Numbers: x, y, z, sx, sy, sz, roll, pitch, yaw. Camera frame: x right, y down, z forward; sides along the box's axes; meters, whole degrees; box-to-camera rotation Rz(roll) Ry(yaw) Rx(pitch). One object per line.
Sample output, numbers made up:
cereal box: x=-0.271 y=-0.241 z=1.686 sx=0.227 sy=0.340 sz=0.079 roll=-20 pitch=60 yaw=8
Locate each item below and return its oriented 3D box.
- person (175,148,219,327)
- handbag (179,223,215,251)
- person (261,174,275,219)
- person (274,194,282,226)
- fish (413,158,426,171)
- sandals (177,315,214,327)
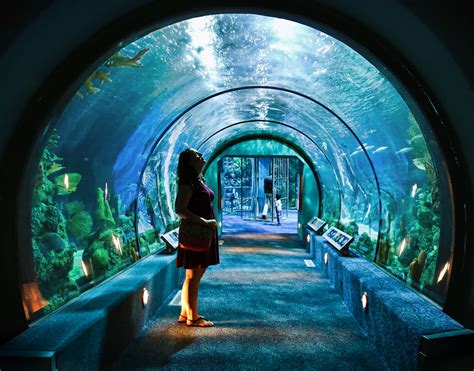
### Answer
person: x=-0.590 y=0.792 z=4.088 sx=0.614 sy=2.655 sz=0.662 roll=0 pitch=-2 yaw=-10
handbag: x=-0.584 y=0.676 z=3.905 sx=0.479 sy=0.544 sz=0.225 roll=3 pitch=4 yaw=4
person: x=2.042 y=0.587 z=18.557 sx=0.774 sy=2.971 sz=0.720 roll=0 pitch=9 yaw=3
person: x=2.414 y=1.390 z=16.377 sx=0.322 sy=1.748 sz=1.160 roll=0 pitch=-2 yaw=8
fish: x=2.527 y=-0.306 z=3.873 sx=0.128 sy=0.039 sz=0.136 roll=-35 pitch=30 yaw=-34
sandals: x=-0.656 y=2.055 z=4.290 sx=0.456 sy=0.148 sz=0.218 roll=-1 pitch=-14 yaw=8
